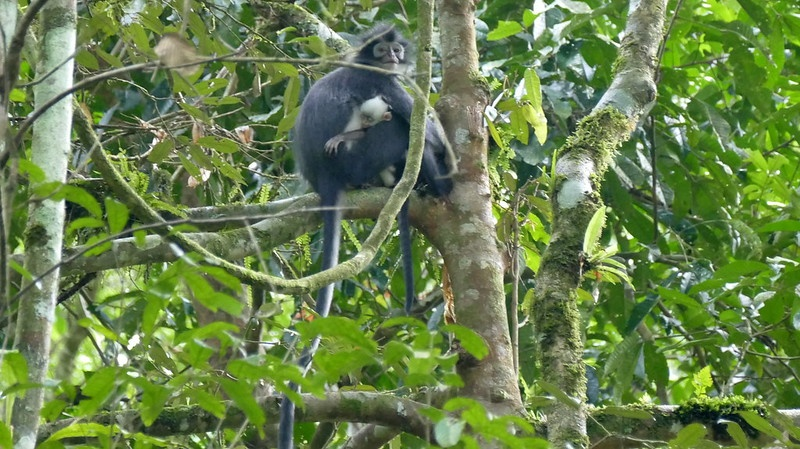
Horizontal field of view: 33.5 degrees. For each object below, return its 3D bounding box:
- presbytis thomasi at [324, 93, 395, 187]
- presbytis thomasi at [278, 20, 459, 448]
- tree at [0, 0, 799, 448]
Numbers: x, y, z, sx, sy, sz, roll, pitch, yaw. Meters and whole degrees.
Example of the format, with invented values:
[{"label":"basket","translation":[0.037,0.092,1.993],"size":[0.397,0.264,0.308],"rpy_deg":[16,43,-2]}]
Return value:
[{"label":"presbytis thomasi","translation":[-0.179,-0.550,7.667],"size":[0.220,0.657,0.288],"rpy_deg":[30,9,20]},{"label":"presbytis thomasi","translation":[-0.222,-0.067,7.570],"size":[0.849,2.445,0.805],"rpy_deg":[8,1,-8]},{"label":"tree","translation":[0.283,-0.211,6.605],"size":[1.995,2.156,1.152],"rpy_deg":[12,3,-9]}]
